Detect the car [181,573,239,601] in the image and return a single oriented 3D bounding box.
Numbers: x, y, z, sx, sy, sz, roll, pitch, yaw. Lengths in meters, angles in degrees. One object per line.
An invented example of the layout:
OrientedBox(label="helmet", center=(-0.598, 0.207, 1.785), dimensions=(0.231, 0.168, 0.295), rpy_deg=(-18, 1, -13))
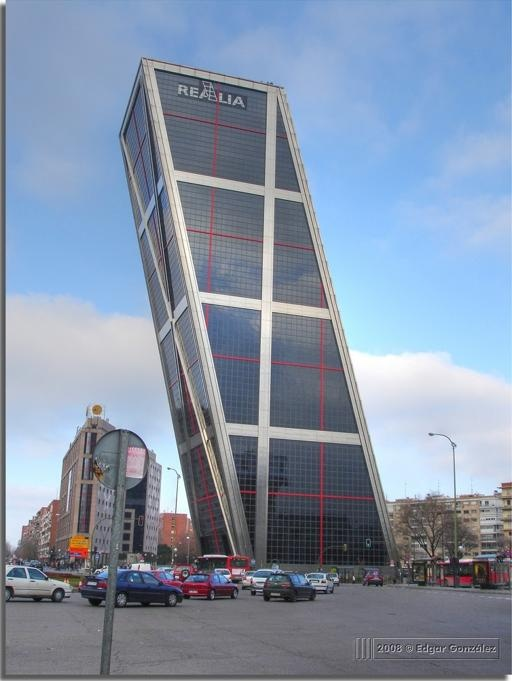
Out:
OrientedBox(label="car", center=(-2.086, 11.001, 32.385), dimensions=(1.359, 1.129, 2.910), rpy_deg=(-10, -19, 28))

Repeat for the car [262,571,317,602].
OrientedBox(label="car", center=(1.431, 10.645, 31.263), dimensions=(1.245, 1.213, 2.601), rpy_deg=(-11, -19, 31))

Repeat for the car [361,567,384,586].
OrientedBox(label="car", center=(11.056, 22.412, 67.854), dimensions=(1.453, 1.503, 2.818), rpy_deg=(1, -9, 3))

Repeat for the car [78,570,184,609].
OrientedBox(label="car", center=(-4.296, 8.518, 24.862), dimensions=(3.025, 1.276, 1.913), rpy_deg=(13, -22, -40))

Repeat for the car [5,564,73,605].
OrientedBox(label="car", center=(-8.176, 8.976, 26.720), dimensions=(1.800, 1.337, 2.680), rpy_deg=(-8, -18, 24))
